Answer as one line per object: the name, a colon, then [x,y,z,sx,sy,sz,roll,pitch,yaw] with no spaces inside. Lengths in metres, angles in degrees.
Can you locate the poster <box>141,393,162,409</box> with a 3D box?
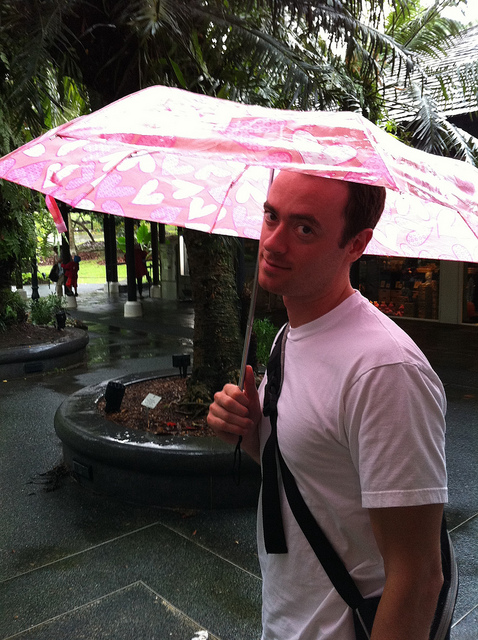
poster: [-0.869,0.806,4.773,0.159,0.148,0.044,27,-6,18]
